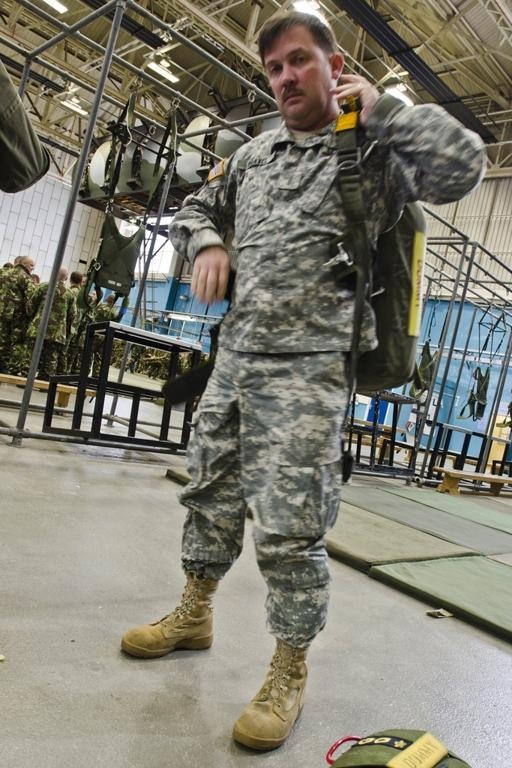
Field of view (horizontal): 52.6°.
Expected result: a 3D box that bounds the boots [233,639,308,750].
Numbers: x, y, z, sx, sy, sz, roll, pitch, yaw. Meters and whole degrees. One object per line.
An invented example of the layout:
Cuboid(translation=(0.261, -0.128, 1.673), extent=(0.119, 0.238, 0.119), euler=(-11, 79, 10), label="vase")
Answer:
Cuboid(translation=(0.035, 0.553, 0.943), extent=(0.074, 0.142, 0.214), euler=(1, -9, 27), label="boots")

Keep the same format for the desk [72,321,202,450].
Cuboid(translation=(-0.731, 0.039, 3.185), extent=(0.242, 0.664, 0.717), euler=(4, -6, 40), label="desk")

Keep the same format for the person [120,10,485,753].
Cuboid(translation=(0.045, -0.056, 1.049), extent=(0.618, 1.302, 0.346), euler=(12, -4, 41), label="person")

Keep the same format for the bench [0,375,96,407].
Cuboid(translation=(-1.733, 0.053, 4.350), extent=(0.681, 0.151, 0.674), euler=(20, -5, -12), label="bench")
